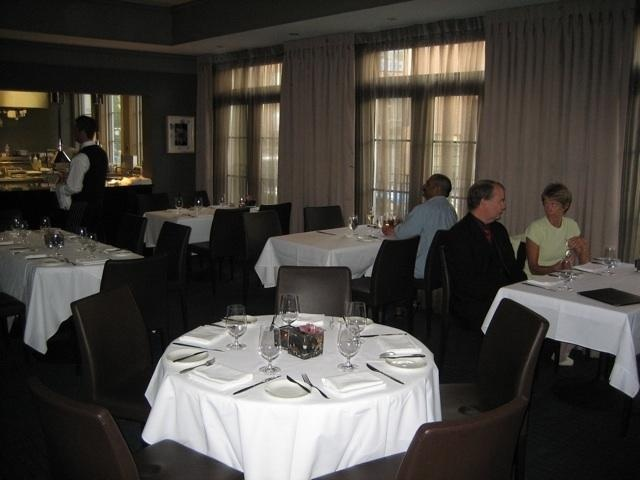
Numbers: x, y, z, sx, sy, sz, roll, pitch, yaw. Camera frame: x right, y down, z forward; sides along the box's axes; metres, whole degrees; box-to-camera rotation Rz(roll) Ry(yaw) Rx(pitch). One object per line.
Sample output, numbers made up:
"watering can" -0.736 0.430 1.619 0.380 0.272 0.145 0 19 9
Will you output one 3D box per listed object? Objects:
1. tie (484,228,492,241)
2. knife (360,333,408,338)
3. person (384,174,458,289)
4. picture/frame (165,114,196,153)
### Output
"tie" 1.379 -0.048 4.185 0.025 0.100 0.090 -11 2 28
"knife" 0.356 0.532 2.837 0.255 0.023 0.031 1 -3 -15
"person" 1.048 -0.022 5.326 0.657 1.344 0.580 11 14 27
"picture/frame" -2.726 -2.063 9.847 0.589 0.890 0.079 -10 16 -39
